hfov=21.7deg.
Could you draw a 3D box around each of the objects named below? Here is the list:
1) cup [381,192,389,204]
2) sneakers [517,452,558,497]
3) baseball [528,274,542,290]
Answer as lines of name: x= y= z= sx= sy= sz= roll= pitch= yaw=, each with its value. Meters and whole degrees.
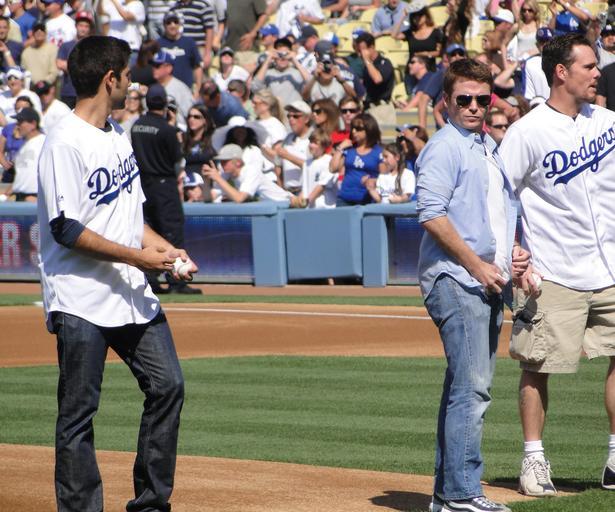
cup: x=0.849 y=-0.636 z=17.519 sx=0.080 sy=0.091 sz=0.109 roll=-1 pitch=11 yaw=0
sneakers: x=1.612 y=1.526 z=11.234 sx=0.225 sy=0.246 sz=0.586 roll=3 pitch=6 yaw=-4
baseball: x=1.586 y=0.176 z=11.174 sx=0.057 sy=0.106 sz=0.075 roll=2 pitch=-10 yaw=-31
